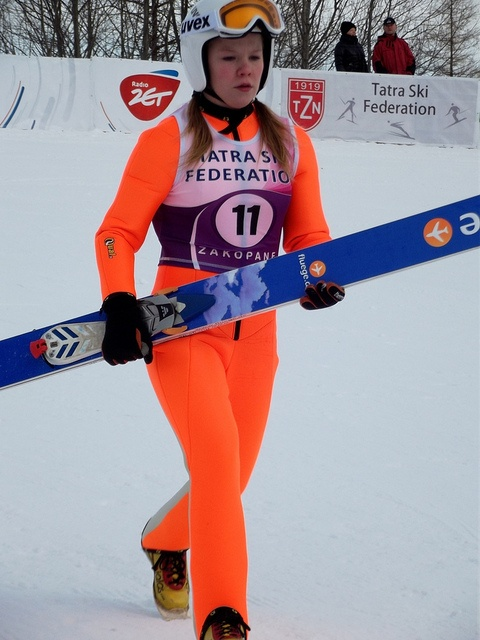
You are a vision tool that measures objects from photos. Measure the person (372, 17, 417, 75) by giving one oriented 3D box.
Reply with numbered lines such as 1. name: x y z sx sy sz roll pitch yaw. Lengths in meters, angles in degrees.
1. person: 1.997 -3.505 10.246 0.542 0.724 0.522 3 11 8

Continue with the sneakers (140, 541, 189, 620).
1. sneakers: -0.210 0.792 2.436 0.090 0.222 0.108 -9 -5 -33

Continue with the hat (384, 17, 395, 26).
1. hat: 1.900 -3.779 10.072 0.104 0.046 0.138 0 11 8

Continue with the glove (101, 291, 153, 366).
1. glove: -0.281 0.026 1.961 0.128 0.177 0.072 -7 -4 -7

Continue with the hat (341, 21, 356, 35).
1. hat: 1.400 -3.792 10.344 0.240 0.166 0.167 12 36 29
